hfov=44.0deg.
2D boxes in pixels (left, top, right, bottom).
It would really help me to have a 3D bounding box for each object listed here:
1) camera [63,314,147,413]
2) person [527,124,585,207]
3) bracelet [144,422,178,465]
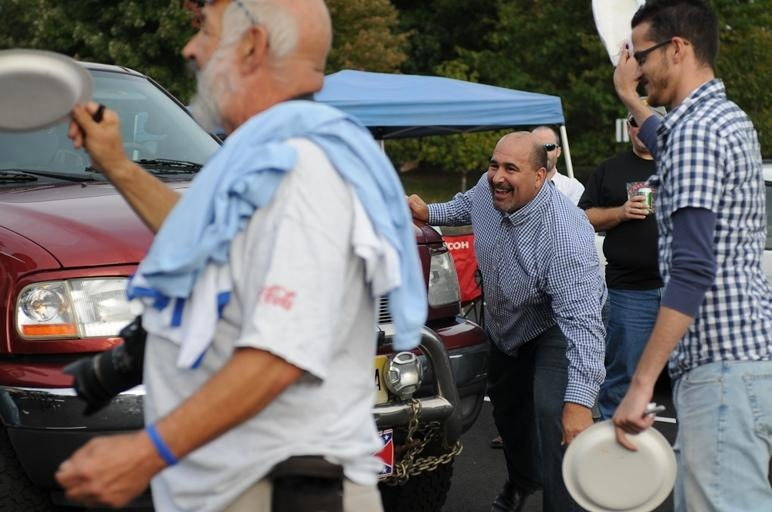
[{"bbox_3d":[-0.953,0.381,3.330,0.318,0.150,0.301,-32,25,-13],"label":"camera"},{"bbox_3d":[1.446,-0.715,8.429,0.736,0.788,0.357,-3,-7,26],"label":"person"},{"bbox_3d":[-0.693,0.591,2.966,0.029,0.107,0.111,-35,18,-4],"label":"bracelet"}]
